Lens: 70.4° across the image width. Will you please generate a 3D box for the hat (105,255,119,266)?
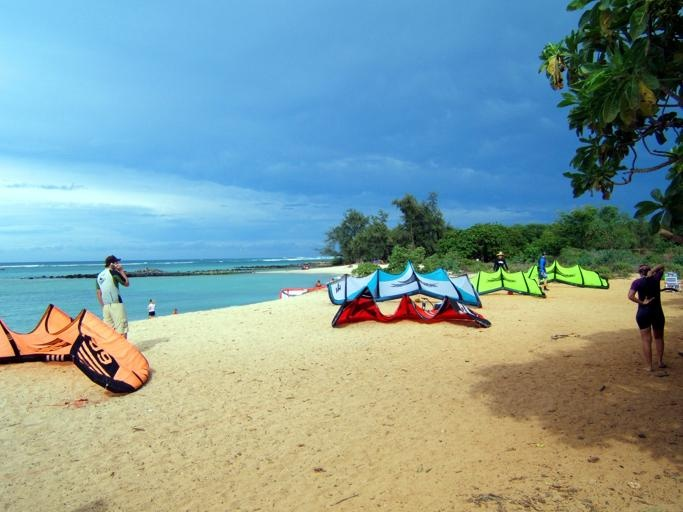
[{"bbox_3d":[-4.905,0.110,10.315,0.152,0.139,0.248,7,16,35],"label":"hat"}]
